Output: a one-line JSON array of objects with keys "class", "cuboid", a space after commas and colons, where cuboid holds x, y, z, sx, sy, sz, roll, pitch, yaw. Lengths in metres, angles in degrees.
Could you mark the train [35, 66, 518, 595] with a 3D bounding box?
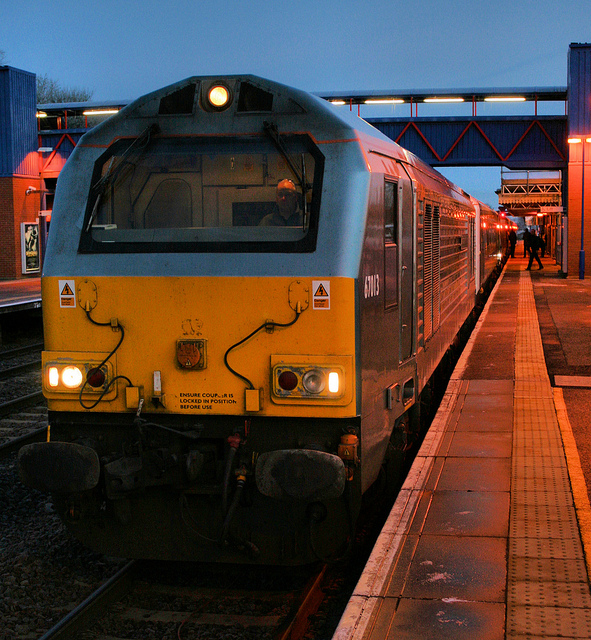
[{"class": "train", "cuboid": [0.312, -0.366, 8.054, 1.397, 2.752, 8.083, 0, 6, 10]}]
